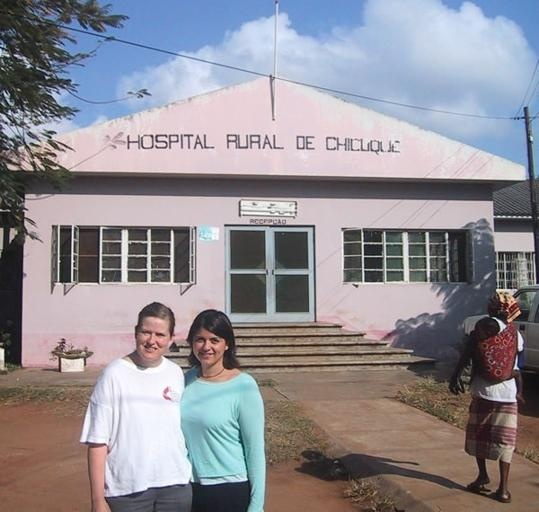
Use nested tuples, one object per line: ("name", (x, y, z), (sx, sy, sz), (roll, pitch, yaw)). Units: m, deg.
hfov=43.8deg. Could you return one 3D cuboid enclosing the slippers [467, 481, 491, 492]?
("slippers", (1.843, 2.065, 5.952), (0.210, 0.099, 0.088), (1, -4, -3))
